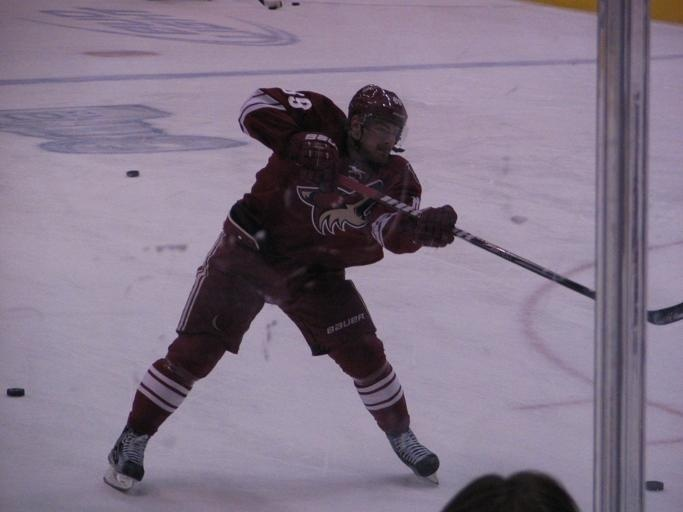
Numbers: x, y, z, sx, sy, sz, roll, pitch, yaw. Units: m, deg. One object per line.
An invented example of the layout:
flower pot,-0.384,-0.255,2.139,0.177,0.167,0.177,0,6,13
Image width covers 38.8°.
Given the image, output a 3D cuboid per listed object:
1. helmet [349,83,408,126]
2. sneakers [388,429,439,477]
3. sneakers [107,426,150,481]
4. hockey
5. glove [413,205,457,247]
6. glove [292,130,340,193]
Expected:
helmet,0.123,-0.531,3.461,0.187,0.150,0.151,9,1,29
sneakers,0.251,0.700,3.454,0.232,0.087,0.099,49,-9,-8
sneakers,-0.752,0.702,3.444,0.065,0.172,0.122,26,25,-13
hockey,0.471,-0.028,3.267,0.913,0.045,0.288,23,-13,19
glove,0.294,-0.106,3.245,0.100,0.140,0.185,11,-1,-35
glove,-0.123,-0.323,3.389,0.212,0.085,0.182,11,41,-27
